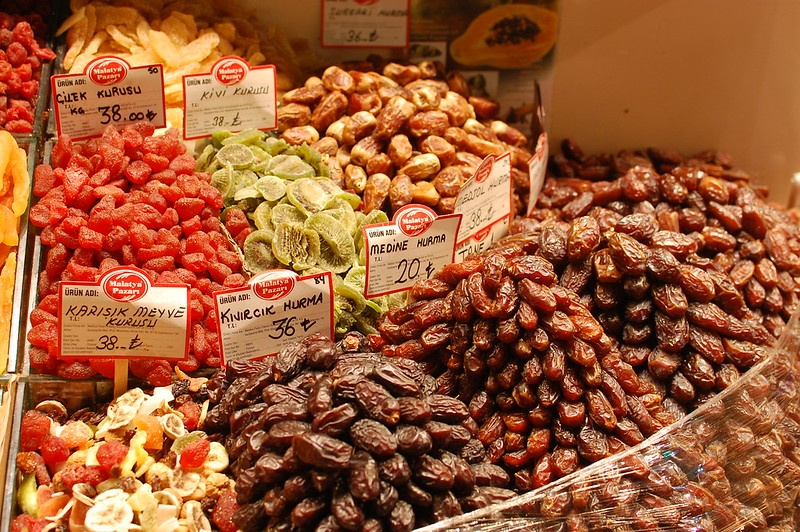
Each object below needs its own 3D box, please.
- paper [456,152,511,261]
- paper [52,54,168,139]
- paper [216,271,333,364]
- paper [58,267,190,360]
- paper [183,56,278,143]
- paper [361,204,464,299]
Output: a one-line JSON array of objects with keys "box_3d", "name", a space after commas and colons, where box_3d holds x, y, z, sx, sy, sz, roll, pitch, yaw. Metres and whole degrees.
[{"box_3d": [0.482, -0.322, 3.675, 0.027, 0.557, 0.495, 24, 52, 30], "name": "paper"}, {"box_3d": [-1.694, -0.984, 3.758, 0.583, 0.444, 0.061, -14, 34, -17], "name": "paper"}, {"box_3d": [-0.622, 0.268, 3.225, 0.446, 0.326, 0.048, -14, 32, -18], "name": "paper"}, {"box_3d": [-1.372, 0.258, 3.201, 0.481, 0.365, 0.009, 1, 20, -2], "name": "paper"}, {"box_3d": [-1.040, -1.018, 3.972, 0.624, 0.498, 0.026, -11, 36, -18], "name": "paper"}, {"box_3d": [0.064, -0.090, 3.482, 0.598, 0.495, 0.010, -10, 28, -35], "name": "paper"}]
